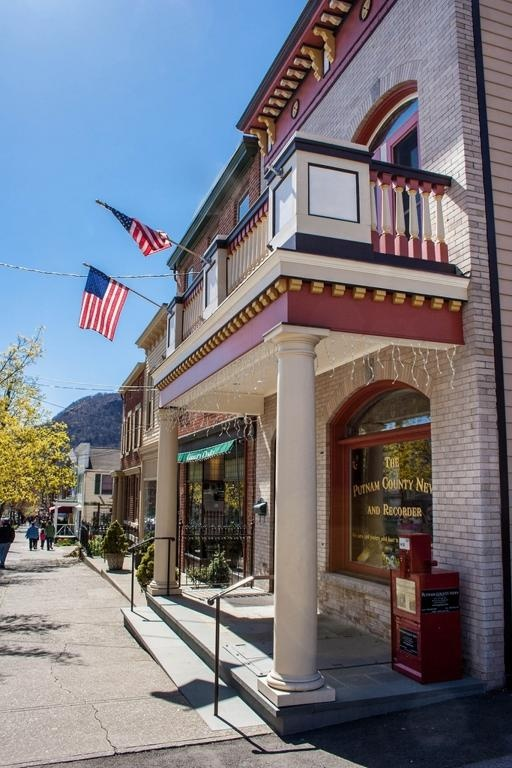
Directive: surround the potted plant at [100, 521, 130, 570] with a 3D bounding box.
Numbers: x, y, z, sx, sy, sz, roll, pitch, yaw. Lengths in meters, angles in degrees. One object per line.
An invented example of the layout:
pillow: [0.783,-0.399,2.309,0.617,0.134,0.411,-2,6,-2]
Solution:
potted plant: [-4.330,4.897,17.685,0.731,1.564,0.768,8,-36,-26]
